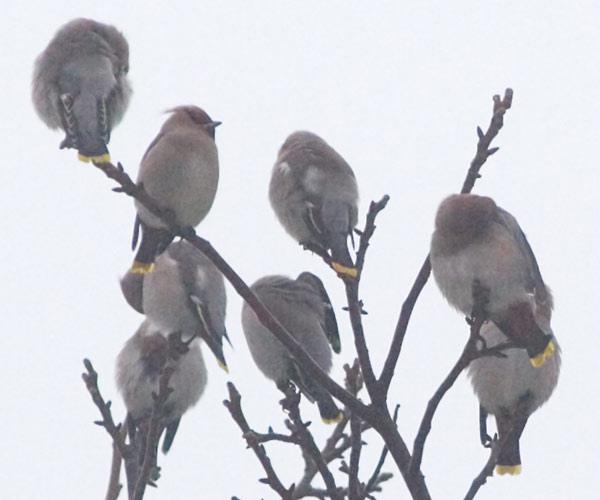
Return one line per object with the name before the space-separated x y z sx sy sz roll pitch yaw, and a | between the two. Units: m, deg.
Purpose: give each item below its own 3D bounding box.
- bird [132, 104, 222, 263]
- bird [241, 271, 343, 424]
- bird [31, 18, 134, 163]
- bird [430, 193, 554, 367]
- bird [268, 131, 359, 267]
bird | -0.640 -0.352 6.815 0.502 0.854 0.362 -12 -26 26
bird | 0.034 0.497 7.148 0.553 0.831 0.412 12 -14 14
bird | -1.140 -0.770 6.826 0.424 0.934 0.834 4 -84 -18
bird | 0.993 0.217 6.890 0.570 0.954 0.450 29 -53 -19
bird | 0.056 -0.239 7.018 0.329 0.762 0.557 -8 -49 -29
